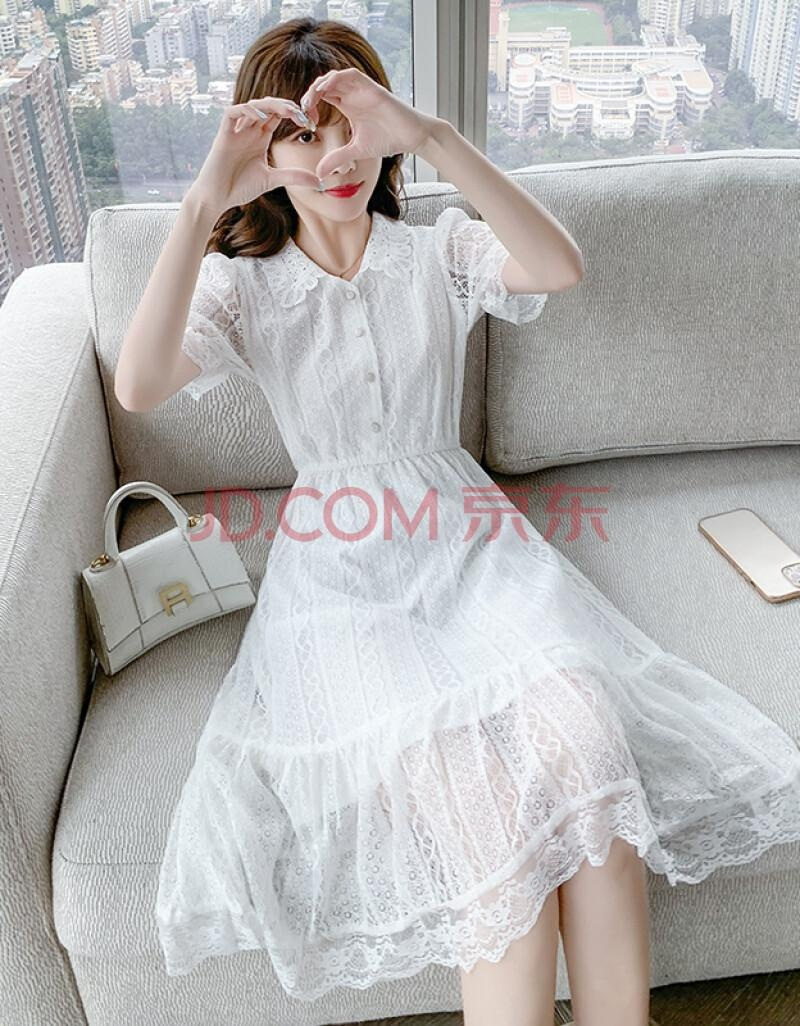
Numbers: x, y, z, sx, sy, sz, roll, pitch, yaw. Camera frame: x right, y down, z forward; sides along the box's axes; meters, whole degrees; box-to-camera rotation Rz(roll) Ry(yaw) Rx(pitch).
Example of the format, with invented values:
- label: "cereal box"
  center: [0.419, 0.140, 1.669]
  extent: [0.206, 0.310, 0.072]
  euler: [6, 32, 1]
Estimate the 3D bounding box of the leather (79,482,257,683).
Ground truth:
- label: "leather"
  center: [-0.329, 0.068, 1.129]
  extent: [0.104, 0.217, 0.242]
  euler: [16, 30, 35]
